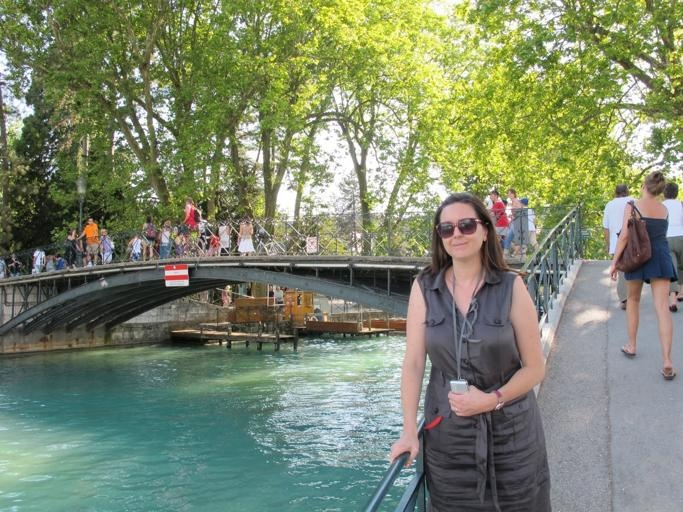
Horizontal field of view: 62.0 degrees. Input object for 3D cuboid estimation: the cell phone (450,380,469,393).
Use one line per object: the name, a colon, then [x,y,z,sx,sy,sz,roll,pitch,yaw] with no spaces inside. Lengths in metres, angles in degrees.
cell phone: [0.579,0.640,2.777,0.080,0.084,0.054,-1,-7,15]

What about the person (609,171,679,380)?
person: [3.070,0.206,5.728,0.548,1.796,0.675,-1,-1,33]

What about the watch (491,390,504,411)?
watch: [0.795,0.725,2.849,0.074,0.087,0.090,-5,-15,2]
